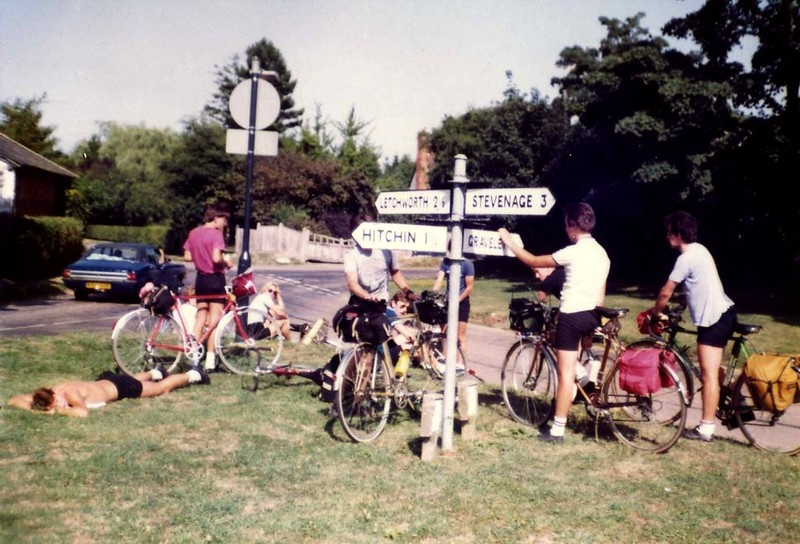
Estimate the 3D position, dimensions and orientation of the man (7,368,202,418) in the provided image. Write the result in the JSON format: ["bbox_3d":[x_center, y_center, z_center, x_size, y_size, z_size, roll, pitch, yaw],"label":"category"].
[{"bbox_3d":[-4.526,1.852,11.426,1.819,0.416,0.820,4,5,-39],"label":"man"}]

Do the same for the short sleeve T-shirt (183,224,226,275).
[{"bbox_3d":[-3.464,-0.394,13.070,0.772,0.829,0.299,4,3,18],"label":"short sleeve T-shirt"}]

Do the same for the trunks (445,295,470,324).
[{"bbox_3d":[1.059,0.677,13.191,0.415,0.650,0.361,4,-2,33],"label":"trunks"}]

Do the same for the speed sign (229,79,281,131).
[{"bbox_3d":[-2.684,-3.178,14.018,0.929,0.998,0.903,-1,2,-39],"label":"speed sign"}]

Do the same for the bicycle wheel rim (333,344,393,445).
[{"bbox_3d":[-0.496,1.791,10.868,0.279,1.412,1.090,5,3,44],"label":"bicycle wheel rim"}]

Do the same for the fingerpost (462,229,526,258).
[{"bbox_3d":[1.270,-0.438,10.652,0.756,0.362,0.256,5,3,39],"label":"fingerpost"}]

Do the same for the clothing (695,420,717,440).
[{"bbox_3d":[4.530,2.328,10.906,0.181,0.224,0.316,1,10,-2],"label":"clothing"}]

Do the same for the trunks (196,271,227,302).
[{"bbox_3d":[-3.337,0.233,13.177,0.632,0.660,0.453,3,7,1],"label":"trunks"}]

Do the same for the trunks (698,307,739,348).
[{"bbox_3d":[4.662,0.852,10.973,0.480,0.680,0.705,23,2,27],"label":"trunks"}]

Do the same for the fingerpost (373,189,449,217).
[{"bbox_3d":[0.210,-1.061,11.161,1.294,0.366,0.258,5,3,32],"label":"fingerpost"}]

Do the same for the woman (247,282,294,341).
[{"bbox_3d":[-2.376,0.721,13.754,0.857,1.248,0.686,0,23,14],"label":"woman"}]

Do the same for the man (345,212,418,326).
[{"bbox_3d":[-0.414,0.429,12.032,0.902,2.480,0.907,-4,21,-8],"label":"man"}]

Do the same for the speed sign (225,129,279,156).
[{"bbox_3d":[-2.784,-2.457,13.822,0.987,0.476,0.480,3,2,2],"label":"speed sign"}]

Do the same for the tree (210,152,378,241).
[{"bbox_3d":[-5.893,-5.541,53.790,5.494,5.794,12.712,4,3,28],"label":"tree"}]
